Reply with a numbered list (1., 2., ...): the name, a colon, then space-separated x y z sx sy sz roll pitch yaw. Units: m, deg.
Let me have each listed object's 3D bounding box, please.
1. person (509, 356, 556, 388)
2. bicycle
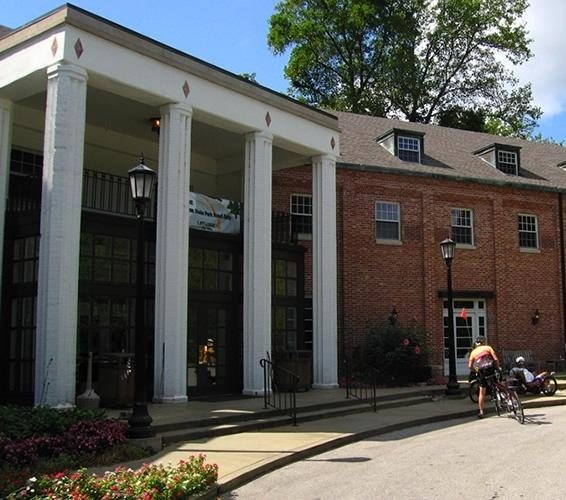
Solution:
1. person: 7.481 3.812 18.256 1.630 1.116 0.562 -2 -6 14
2. bicycle: 5.437 3.825 14.918 1.417 1.531 1.364 1 -4 8
